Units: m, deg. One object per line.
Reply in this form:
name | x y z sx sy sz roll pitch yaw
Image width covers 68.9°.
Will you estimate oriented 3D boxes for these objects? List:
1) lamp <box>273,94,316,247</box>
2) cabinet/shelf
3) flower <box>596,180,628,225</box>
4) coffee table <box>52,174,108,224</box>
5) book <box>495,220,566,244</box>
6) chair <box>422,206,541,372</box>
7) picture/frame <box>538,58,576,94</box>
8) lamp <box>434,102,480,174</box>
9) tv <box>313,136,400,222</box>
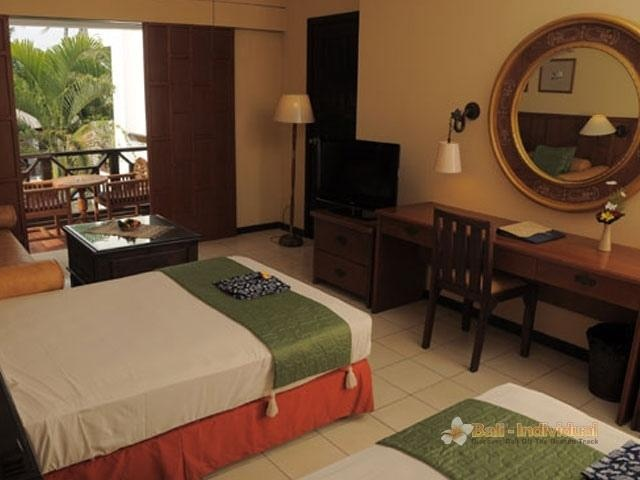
lamp | -0.330 -0.890 5.987 0.473 1.880 0.736 -1 19 -4
cabinet/shelf | 0.241 0.167 4.432 0.419 0.731 0.716 -12 21 -41
flower | 2.034 -0.261 3.240 0.228 0.327 0.201 -7 13 10
coffee table | -3.307 -0.716 6.525 0.671 0.546 0.682 -13 31 -32
book | 1.584 -0.053 3.493 0.235 0.039 0.264 -12 22 -31
chair | 1.274 0.391 3.615 0.708 1.324 0.725 -17 26 -32
picture/frame | 1.800 -1.251 3.524 0.017 0.271 0.253 -12 21 -34
lamp | 1.166 -0.867 4.092 0.336 0.663 0.437 13 23 33
tv | 0.388 -0.604 4.638 0.763 0.583 0.205 20 26 40
